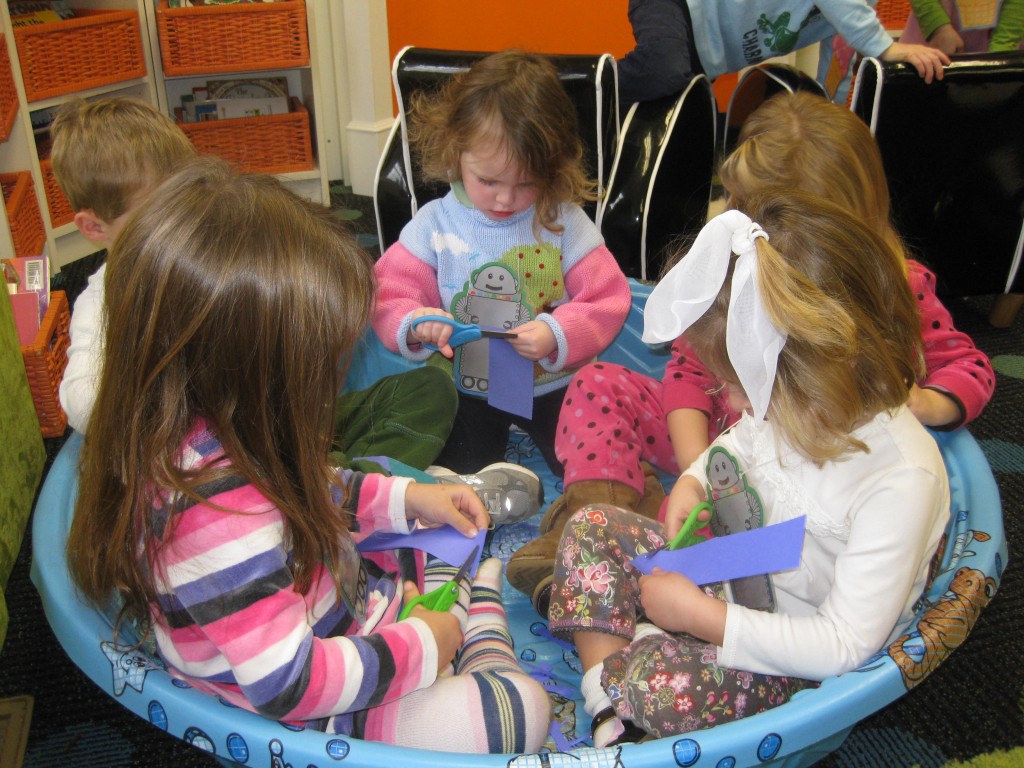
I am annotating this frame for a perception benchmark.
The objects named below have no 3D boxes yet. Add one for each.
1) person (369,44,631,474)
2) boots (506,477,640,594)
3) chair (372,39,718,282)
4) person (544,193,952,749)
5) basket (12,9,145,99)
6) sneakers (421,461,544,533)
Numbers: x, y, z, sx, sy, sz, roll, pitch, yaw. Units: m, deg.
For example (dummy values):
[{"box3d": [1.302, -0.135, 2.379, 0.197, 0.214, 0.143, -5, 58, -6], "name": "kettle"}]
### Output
[{"box3d": [-0.019, -0.217, 1.727, 0.486, 0.825, 0.548, -21, 44, -21], "name": "person"}, {"box3d": [0.106, 0.252, 1.491, 0.164, 0.095, 0.236, 8, 75, 46], "name": "boots"}, {"box3d": [0.134, -0.480, 2.279, 0.740, 0.814, 0.597, 2, 17, 6], "name": "chair"}, {"box3d": [0.357, -0.070, 1.588, 0.671, 1.255, 0.732, -2, 27, 2], "name": "person"}, {"box3d": [-1.379, -1.088, 2.688, 0.058, 0.223, 0.493, 6, 31, 19], "name": "basket"}, {"box3d": [-0.059, 0.210, 1.587, 0.229, 0.107, 0.097, -2, 2, -7], "name": "sneakers"}]
